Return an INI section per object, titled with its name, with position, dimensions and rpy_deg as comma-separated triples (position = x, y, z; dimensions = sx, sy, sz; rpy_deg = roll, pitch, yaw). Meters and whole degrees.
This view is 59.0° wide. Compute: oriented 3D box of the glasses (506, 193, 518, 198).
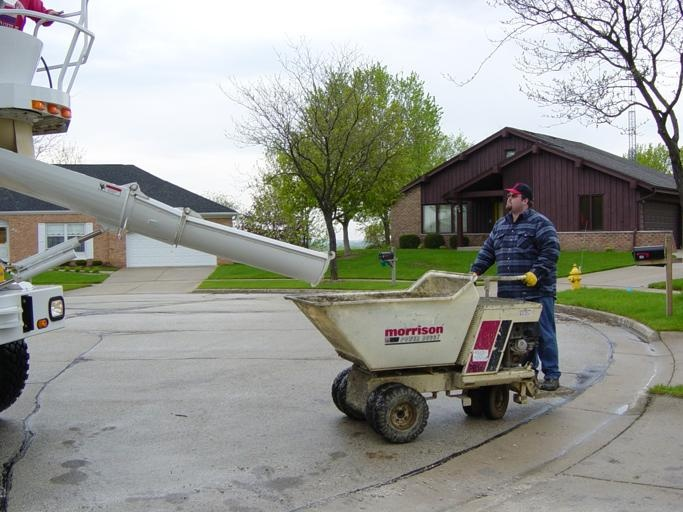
[glasses]
position = 2.029, -0.721, 7.095
dimensions = 0.110, 0.027, 0.073
rpy_deg = 1, 4, -13

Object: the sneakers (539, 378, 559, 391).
[sneakers]
position = 2.395, 1.463, 6.936
dimensions = 0.103, 0.090, 0.246
rpy_deg = -23, -36, 40

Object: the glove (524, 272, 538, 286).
[glove]
position = 2.096, 0.246, 6.684
dimensions = 0.143, 0.080, 0.178
rpy_deg = 9, 9, 11

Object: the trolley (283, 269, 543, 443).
[trolley]
position = 0.920, 1.045, 6.653
dimensions = 3.003, 1.419, 1.478
rpy_deg = 1, 0, -22
